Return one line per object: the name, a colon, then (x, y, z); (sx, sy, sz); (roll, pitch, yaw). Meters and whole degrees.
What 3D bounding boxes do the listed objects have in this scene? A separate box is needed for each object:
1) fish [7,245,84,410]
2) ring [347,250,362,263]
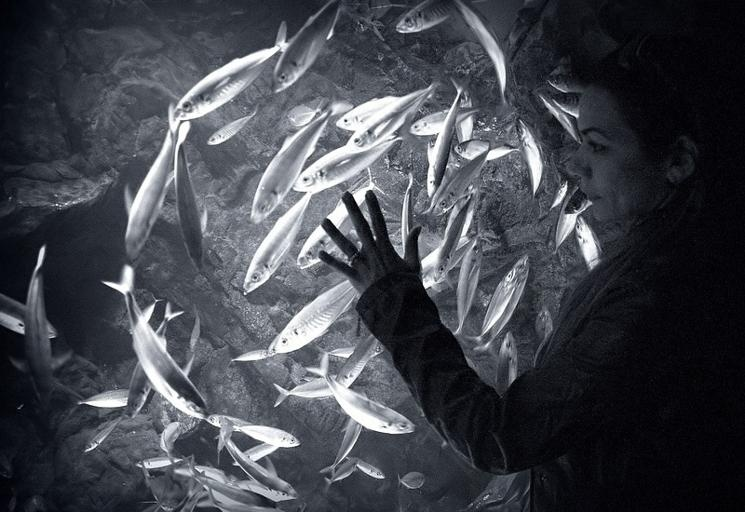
fish: (-2.065, 0.501, 5.341); (0.279, 1.133, 0.249); (-1, 12, 14)
ring: (-0.108, 0.000, 4.541); (0.055, 0.020, 0.057); (-37, 4, 3)
